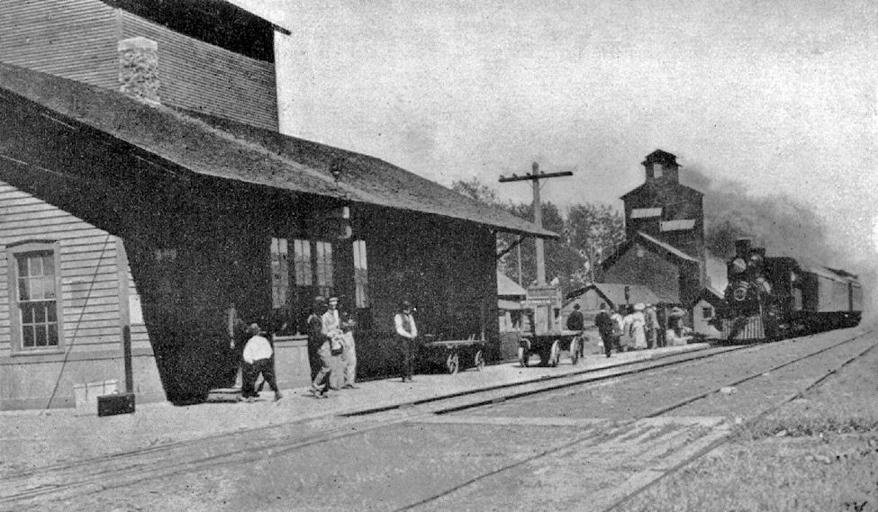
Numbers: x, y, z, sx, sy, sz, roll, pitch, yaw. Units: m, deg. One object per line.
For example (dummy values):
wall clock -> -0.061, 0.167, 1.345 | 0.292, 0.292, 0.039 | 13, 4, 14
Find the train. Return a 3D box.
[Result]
train -> 16.824, 1.632, 51.692 | 8.855, 5.528, 3.980 | -9, 12, -43

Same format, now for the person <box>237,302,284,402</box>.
person -> -5.022, 3.003, 30.492 | 0.894, 2.284, 0.814 | -6, 2, -25

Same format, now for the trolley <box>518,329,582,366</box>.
trolley -> 3.913, 3.220, 38.107 | 2.095, 1.228, 1.219 | -5, 10, -24
